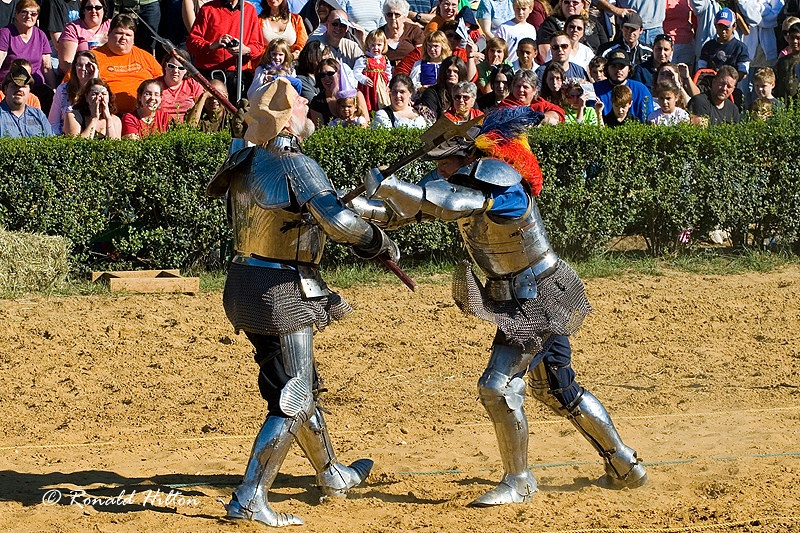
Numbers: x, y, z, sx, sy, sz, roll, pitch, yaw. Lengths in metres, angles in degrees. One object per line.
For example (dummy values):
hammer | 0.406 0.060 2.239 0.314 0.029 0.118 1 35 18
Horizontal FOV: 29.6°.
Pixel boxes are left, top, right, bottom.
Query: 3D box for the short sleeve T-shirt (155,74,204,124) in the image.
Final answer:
short sleeve T-shirt | -2.553 -1.927 17.488 0.500 0.488 0.279 15 -13 -9

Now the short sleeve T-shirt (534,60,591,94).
short sleeve T-shirt | 2.085 -2.443 18.972 0.648 0.351 0.477 -10 40 -37

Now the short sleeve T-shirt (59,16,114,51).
short sleeve T-shirt | -3.813 -2.889 18.532 0.461 0.328 0.825 23 29 34

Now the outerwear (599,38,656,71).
outerwear | 3.065 -2.885 20.134 0.757 0.332 0.412 3 -11 -4

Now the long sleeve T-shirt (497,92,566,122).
long sleeve T-shirt | 1.548 -1.901 17.618 0.659 0.314 0.793 1 2 14

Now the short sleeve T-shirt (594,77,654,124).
short sleeve T-shirt | 2.694 -2.023 18.485 0.639 0.527 0.258 1 7 5

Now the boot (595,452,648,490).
boot | 1.950 1.822 13.392 0.411 0.397 0.280 6 -1 6

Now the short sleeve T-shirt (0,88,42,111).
short sleeve T-shirt | -4.399 -1.925 17.711 0.280 0.185 0.380 -1 -16 33

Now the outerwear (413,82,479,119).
outerwear | 0.557 -1.918 17.503 0.877 0.357 0.699 3 -2 33

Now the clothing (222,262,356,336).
clothing | -1.011 0.302 12.864 0.778 0.421 0.590 7 -1 -14

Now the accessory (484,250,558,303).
accessory | 1.028 0.088 13.268 0.447 0.249 0.607 -10 22 26

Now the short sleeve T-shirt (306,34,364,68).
short sleeve T-shirt | -0.721 -2.706 18.764 0.508 0.509 0.235 -15 -9 -27

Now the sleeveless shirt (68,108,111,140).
sleeveless shirt | -3.571 -1.648 17.309 0.318 0.428 0.189 4 12 4

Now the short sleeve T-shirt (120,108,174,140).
short sleeve T-shirt | -2.911 -1.641 17.448 0.589 0.346 0.572 3 35 -9

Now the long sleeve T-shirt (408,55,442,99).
long sleeve T-shirt | 0.273 -2.295 18.305 0.340 0.431 0.149 8 -14 18

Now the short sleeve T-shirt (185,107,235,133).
short sleeve T-shirt | -2.206 -1.680 17.544 0.503 0.211 0.420 8 -38 -7

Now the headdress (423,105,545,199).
headdress | 0.743 -0.893 13.077 0.837 0.847 0.482 -8 -34 -19

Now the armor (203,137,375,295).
armor | -0.948 -0.537 12.892 1.217 1.362 1.702 -12 19 -34

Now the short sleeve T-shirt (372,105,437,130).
short sleeve T-shirt | 0.018 -1.728 17.664 0.598 0.253 0.458 0 -1 -43

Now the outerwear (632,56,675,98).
outerwear | 3.202 -2.397 19.168 0.531 0.595 0.342 9 -39 17

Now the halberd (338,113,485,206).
halberd | 0.093 -0.992 14.322 1.224 0.301 0.050 -27 8 -3

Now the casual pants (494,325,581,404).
casual pants | 1.207 0.881 13.382 0.360 0.776 0.581 -7 9 43

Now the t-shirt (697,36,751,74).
t-shirt | 4.357 -2.840 20.482 0.699 0.564 0.376 6 -10 14

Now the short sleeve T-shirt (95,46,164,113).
short sleeve T-shirt | -3.264 -2.166 18.104 0.735 0.852 0.326 -4 -7 -13
